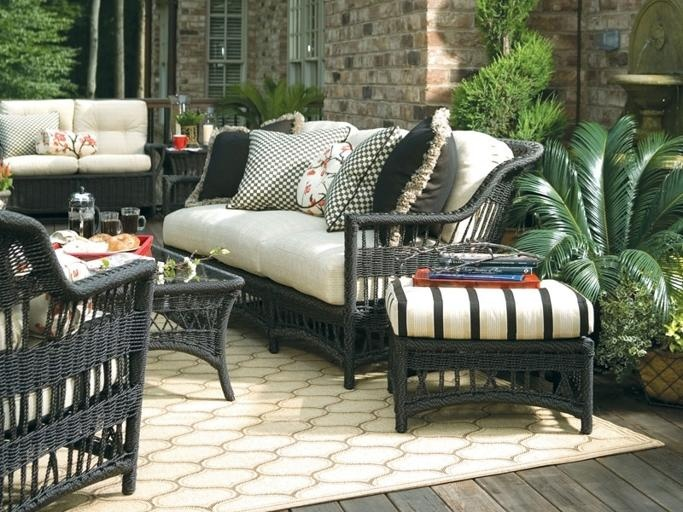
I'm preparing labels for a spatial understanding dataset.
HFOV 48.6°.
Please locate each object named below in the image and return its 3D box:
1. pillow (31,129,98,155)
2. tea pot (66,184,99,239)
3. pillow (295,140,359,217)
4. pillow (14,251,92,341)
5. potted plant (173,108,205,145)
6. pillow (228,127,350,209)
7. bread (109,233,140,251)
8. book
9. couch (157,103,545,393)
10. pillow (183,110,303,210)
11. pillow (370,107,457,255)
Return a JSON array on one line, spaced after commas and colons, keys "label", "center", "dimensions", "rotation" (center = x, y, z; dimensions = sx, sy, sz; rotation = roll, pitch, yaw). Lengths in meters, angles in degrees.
[{"label": "pillow", "center": [-2.560, -1.083, 7.048], "dimensions": [0.626, 0.222, 0.261], "rotation": [2, 40, -23]}, {"label": "tea pot", "center": [-1.258, -0.201, 3.680], "dimensions": [0.156, 0.254, 0.213], "rotation": [11, 10, 40]}, {"label": "pillow", "center": [-0.108, -0.447, 4.198], "dimensions": [0.347, 0.357, 0.412], "rotation": [-8, 18, -29]}, {"label": "pillow", "center": [-0.801, 0.122, 2.090], "dimensions": [0.177, 0.197, 0.188], "rotation": [31, 37, -19]}, {"label": "potted plant", "center": [-1.531, -1.279, 7.539], "dimensions": [0.264, 0.245, 0.288], "rotation": [-8, 13, -36]}, {"label": "pillow", "center": [-0.296, -0.505, 4.511], "dimensions": [0.682, 0.512, 0.181], "rotation": [1, -27, 25]}, {"label": "bread", "center": [-0.969, -0.060, 3.372], "dimensions": [0.109, 0.026, 0.094], "rotation": [7, 15, 14]}, {"label": "book", "center": [0.554, 0.060, 3.025], "dimensions": [0.586, 0.066, 0.416], "rotation": [3, 7, 19]}, {"label": "couch", "center": [-0.079, -0.169, 4.443], "dimensions": [1.362, 0.980, 2.567], "rotation": [-17, 18, -31]}, {"label": "pillow", "center": [-0.577, -0.642, 5.154], "dimensions": [1.156, 0.596, 0.673], "rotation": [3, 8, 20]}, {"label": "pillow", "center": [0.367, -0.448, 3.570], "dimensions": [0.362, 0.497, 0.268], "rotation": [0, 14, -10]}]
